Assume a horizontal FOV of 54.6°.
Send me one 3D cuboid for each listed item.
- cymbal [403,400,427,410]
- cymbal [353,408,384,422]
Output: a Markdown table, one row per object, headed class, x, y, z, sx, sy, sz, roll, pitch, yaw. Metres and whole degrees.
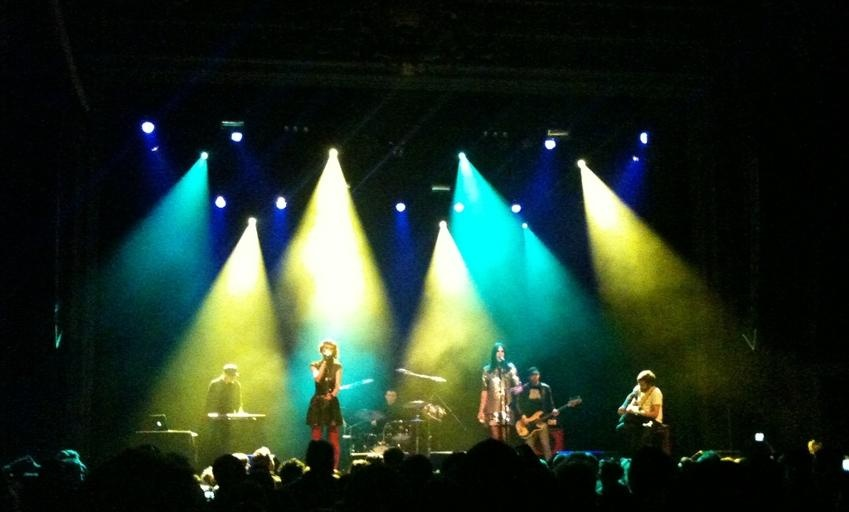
| class | x | y | z | sx | sy | sz | roll | pitch | yaw |
| --- | --- | --- | --- | --- | --- | --- | --- | --- | --- |
| cymbal | -0.173 | 2.789 | 15.329 | 0.417 | 0.220 | 0.093 | -1 | 1 | 7 |
| cymbal | -1.037 | 3.058 | 15.633 | 0.550 | 0.242 | 0.448 | 0 | -7 | -7 |
